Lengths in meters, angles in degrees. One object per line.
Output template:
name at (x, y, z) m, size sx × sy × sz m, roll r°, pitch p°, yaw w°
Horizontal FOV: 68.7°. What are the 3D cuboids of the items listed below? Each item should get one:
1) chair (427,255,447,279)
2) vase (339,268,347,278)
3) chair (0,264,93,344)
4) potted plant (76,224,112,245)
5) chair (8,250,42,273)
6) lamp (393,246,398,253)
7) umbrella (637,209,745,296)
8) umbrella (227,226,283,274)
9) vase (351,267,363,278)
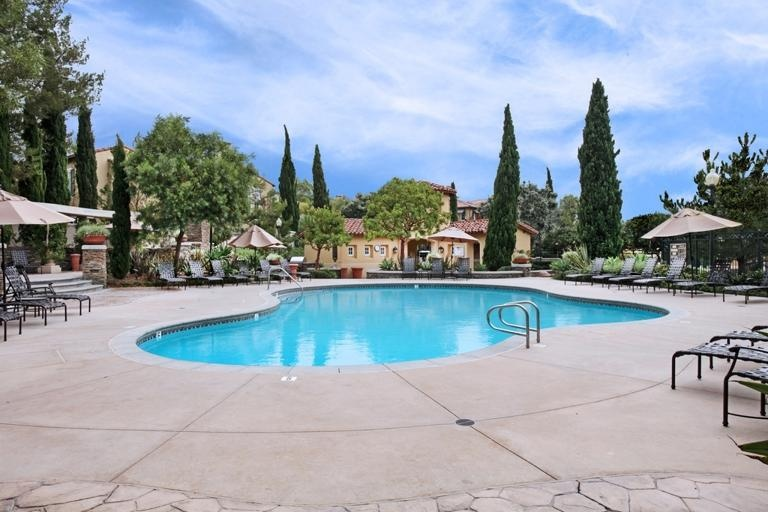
chair at (2.806, 0.546, 28.315) m, size 0.946 × 1.396 × 0.980 m, roll -1°, pitch -3°, yaw 3°
vase at (-2.453, 0.996, 33.618) m, size 0.558 × 0.559 × 0.821 m, roll 0°, pitch 14°, yaw -4°
chair at (-8.592, 1.078, 13.937) m, size 2.593 × 1.706 × 1.404 m, roll 0°, pitch 0°, yaw 17°
potted plant at (-12.047, -0.897, 23.418) m, size 1.094 × 0.638 × 1.095 m, roll 1°, pitch -4°, yaw -3°
chair at (-12.018, 0.182, 18.987) m, size 0.970 × 0.527 × 0.567 m, roll 20°, pitch 18°, yaw 24°
lamp at (0.697, -0.435, 40.120) m, size 0.283 × 0.397 × 0.196 m, roll 0°, pitch -5°, yaw 15°
umbrella at (11.484, -0.113, 21.099) m, size 3.604 × 2.628 × 3.605 m, roll -6°, pitch 3°, yaw -11°
umbrella at (-6.519, -0.271, 27.983) m, size 3.015 × 1.854 × 3.001 m, roll -1°, pitch 0°, yaw -11°
vase at (-2.000, 1.098, 39.962) m, size 0.783 × 0.671 × 1.096 m, roll 0°, pitch 0°, yaw -1°
